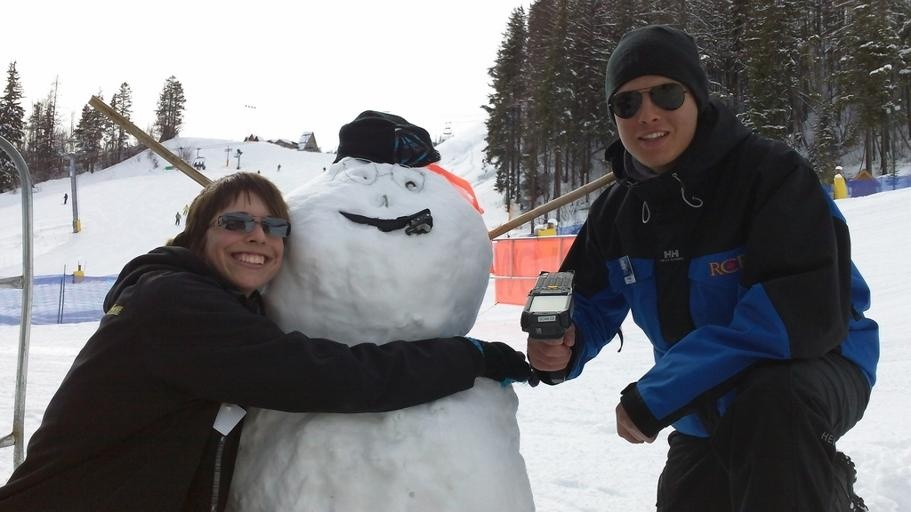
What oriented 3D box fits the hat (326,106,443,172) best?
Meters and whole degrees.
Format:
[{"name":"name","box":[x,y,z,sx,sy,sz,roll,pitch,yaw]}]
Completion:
[{"name":"hat","box":[-0.597,-0.957,6.400,1.395,0.653,0.825,-1,2,-8]}]

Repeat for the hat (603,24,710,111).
[{"name":"hat","box":[1.686,-1.514,5.875,0.724,0.595,0.707,-4,-26,32]}]

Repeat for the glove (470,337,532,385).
[{"name":"glove","box":[0.370,0.836,5.817,0.523,0.201,0.290,20,28,-36]}]
